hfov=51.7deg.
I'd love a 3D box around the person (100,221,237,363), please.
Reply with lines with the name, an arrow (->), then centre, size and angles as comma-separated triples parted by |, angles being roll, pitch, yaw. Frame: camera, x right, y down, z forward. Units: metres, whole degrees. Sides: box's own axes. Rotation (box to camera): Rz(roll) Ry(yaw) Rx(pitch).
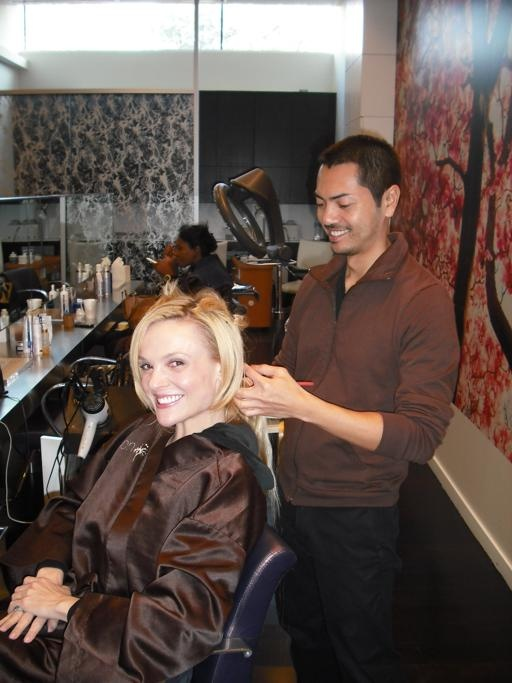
person -> -0.498, -0.282, 3.541 | 0.588, 0.987, 0.453 | 14, 23, -19

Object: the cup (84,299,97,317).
cup -> -1.145, -0.247, 3.723 | 0.116, 0.116, 0.093 | 1, -3, -41

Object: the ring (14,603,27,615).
ring -> -0.399, 0.456, 0.901 | 0.016, 0.007, 0.030 | 6, -5, -3
